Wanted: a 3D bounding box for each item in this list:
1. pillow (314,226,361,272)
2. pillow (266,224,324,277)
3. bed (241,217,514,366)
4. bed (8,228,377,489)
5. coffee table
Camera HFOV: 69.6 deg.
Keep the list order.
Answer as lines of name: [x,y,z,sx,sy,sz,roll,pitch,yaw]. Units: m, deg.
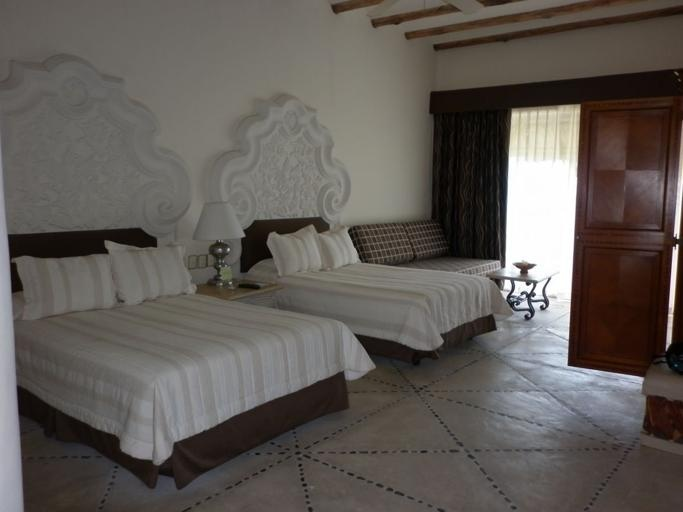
pillow: [-0.138,-0.067,5.582,0.160,0.402,0.613,-27,-9,31]
pillow: [-0.527,-0.041,5.111,0.162,0.438,0.605,-31,-15,32]
bed: [0.172,0.377,4.920,2.095,0.918,1.452,7,15,38]
bed: [-1.216,0.497,3.491,2.053,1.247,1.644,8,13,37]
coffee table: [2.283,0.435,6.221,0.780,0.579,0.763,3,6,30]
